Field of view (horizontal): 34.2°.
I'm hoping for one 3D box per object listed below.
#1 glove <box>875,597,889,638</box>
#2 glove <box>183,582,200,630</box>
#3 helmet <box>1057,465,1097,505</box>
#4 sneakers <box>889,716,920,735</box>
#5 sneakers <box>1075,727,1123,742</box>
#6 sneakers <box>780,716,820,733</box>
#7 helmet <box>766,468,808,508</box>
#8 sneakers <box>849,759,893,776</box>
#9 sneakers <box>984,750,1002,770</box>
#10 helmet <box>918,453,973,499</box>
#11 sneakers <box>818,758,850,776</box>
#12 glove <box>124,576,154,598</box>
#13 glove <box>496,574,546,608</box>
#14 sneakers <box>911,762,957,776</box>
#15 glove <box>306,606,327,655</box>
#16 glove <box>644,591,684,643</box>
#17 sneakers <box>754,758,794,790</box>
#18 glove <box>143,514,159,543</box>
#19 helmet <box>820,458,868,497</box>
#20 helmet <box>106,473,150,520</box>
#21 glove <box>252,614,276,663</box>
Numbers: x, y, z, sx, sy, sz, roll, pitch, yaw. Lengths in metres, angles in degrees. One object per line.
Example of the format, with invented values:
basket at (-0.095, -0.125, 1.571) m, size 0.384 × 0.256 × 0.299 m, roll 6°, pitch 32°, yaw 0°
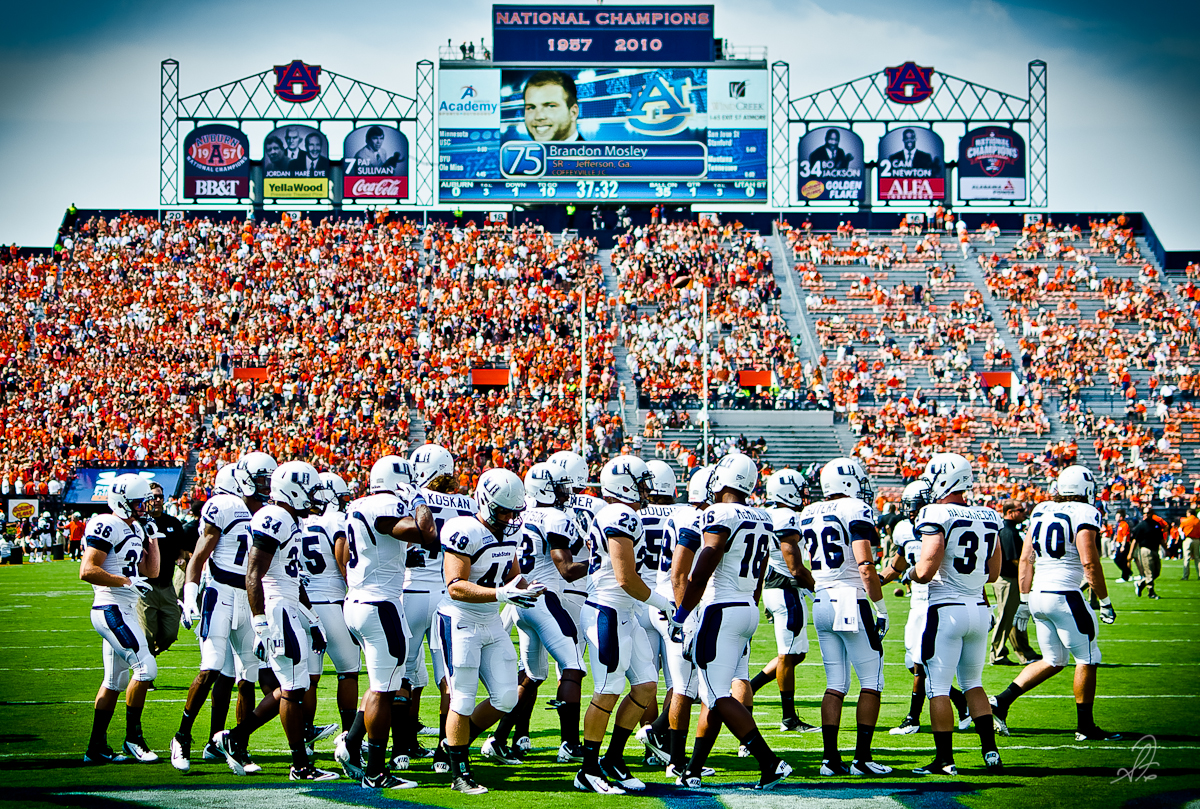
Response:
glove at (3.701, 2.790, 25.718) m, size 0.106 × 0.478 × 0.311 m, roll -1°, pitch -2°, yaw 25°
glove at (-5.526, 2.647, 26.258) m, size 0.216 × 0.565 × 0.247 m, roll 0°, pitch -1°, yaw -13°
helmet at (6.537, 1.056, 26.858) m, size 0.387 × 0.479 × 0.556 m, roll 8°, pitch 24°, yaw 31°
sneakers at (4.207, 4.399, 26.871) m, size 0.477 × 0.236 × 0.171 m, roll 2°, pitch -11°, yaw 5°
sneakers at (6.716, 4.436, 26.343) m, size 0.599 × 0.278 × 0.233 m, roll -2°, pitch -3°, yaw -2°
sneakers at (2.763, 4.378, 26.934) m, size 0.506 × 0.237 × 0.194 m, roll 2°, pitch 2°, yaw 0°
helmet at (2.452, 1.113, 26.104) m, size 0.533 × 0.480 × 0.404 m, roll -15°, pitch 10°, yaw -8°
sneakers at (3.490, 4.675, 25.458) m, size 0.599 × 0.281 × 0.210 m, roll 1°, pitch 11°, yaw -5°
sneakers at (5.107, 4.608, 25.439) m, size 0.189 × 0.268 × 0.146 m, roll 1°, pitch -27°, yaw -4°
helmet at (4.646, 0.936, 26.061) m, size 0.608 × 0.577 × 0.459 m, roll 4°, pitch 0°, yaw 29°
sneakers at (3.012, 4.665, 25.298) m, size 0.465 × 0.217 × 0.166 m, roll 2°, pitch -1°, yaw -18°
glove at (-6.111, 2.379, 25.959) m, size 0.339 × 0.259 × 0.436 m, roll 0°, pitch -2°, yaw 5°
glove at (-1.072, 2.383, 24.994) m, size 0.450 × 0.233 × 0.352 m, roll -2°, pitch -11°, yaw 25°
sneakers at (4.332, 4.760, 25.379) m, size 0.595 × 0.274 × 0.212 m, roll 3°, pitch -11°, yaw 7°
glove at (-3.748, 2.952, 25.501) m, size 0.157 × 0.479 × 0.333 m, roll -13°, pitch 2°, yaw -26°
glove at (0.822, 2.749, 25.389) m, size 0.213 × 0.674 × 0.456 m, roll -39°, pitch 30°, yaw -21°
sneakers at (2.305, 4.688, 24.936) m, size 0.643 × 0.290 × 0.226 m, roll -26°, pitch -21°, yaw 17°
glove at (-6.112, 1.664, 26.401) m, size 0.255 × 0.372 × 0.840 m, roll 0°, pitch -11°, yaw -12°
helmet at (3.258, 0.976, 26.182) m, size 0.555 × 0.481 × 0.439 m, roll -6°, pitch 5°, yaw -19°
helmet at (-6.298, 1.226, 26.236) m, size 0.548 × 0.571 × 0.475 m, roll -5°, pitch 5°, yaw 2°
glove at (-4.367, 3.007, 25.326) m, size 0.246 × 0.776 × 0.324 m, roll 0°, pitch -8°, yaw -36°
